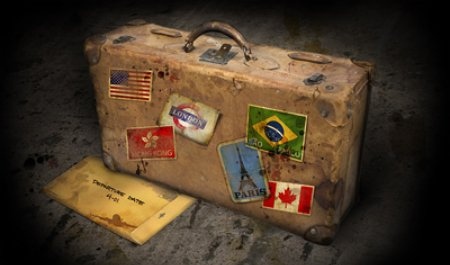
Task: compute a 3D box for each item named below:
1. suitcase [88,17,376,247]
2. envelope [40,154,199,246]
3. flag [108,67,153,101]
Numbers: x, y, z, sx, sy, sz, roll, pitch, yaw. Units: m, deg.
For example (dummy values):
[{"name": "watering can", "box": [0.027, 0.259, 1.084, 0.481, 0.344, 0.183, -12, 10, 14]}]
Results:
[{"name": "suitcase", "box": [-0.003, -0.102, 2.571, 1.716, 1.055, 0.571, 15, 34, 25]}, {"name": "envelope", "box": [-0.689, 0.410, 2.575, 0.804, 0.075, 0.554, 26, 34, 17]}, {"name": "flag", "box": [-0.591, -0.294, 2.388, 0.300, 0.071, 0.190, -5, 96, -43]}]
